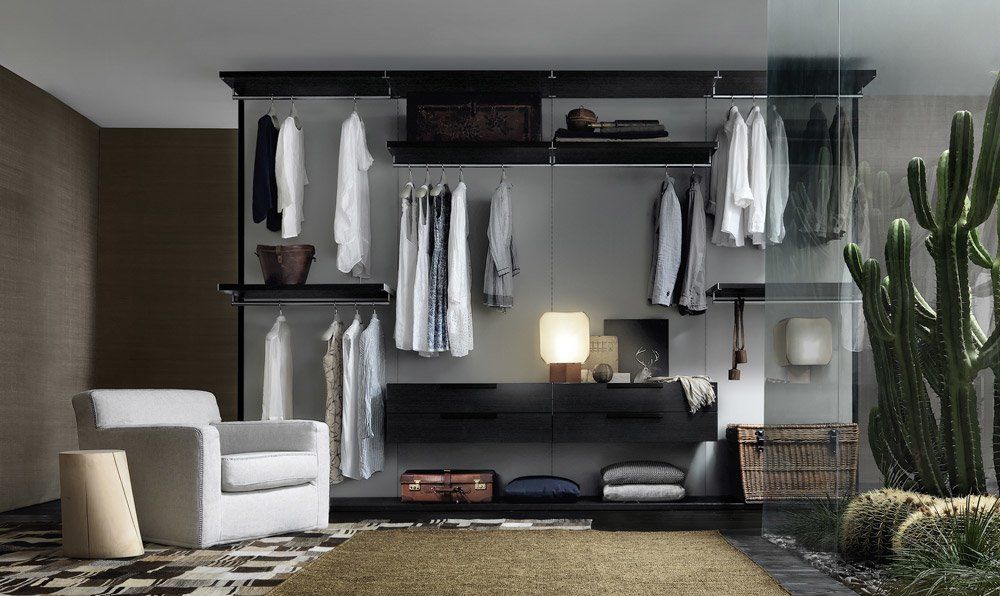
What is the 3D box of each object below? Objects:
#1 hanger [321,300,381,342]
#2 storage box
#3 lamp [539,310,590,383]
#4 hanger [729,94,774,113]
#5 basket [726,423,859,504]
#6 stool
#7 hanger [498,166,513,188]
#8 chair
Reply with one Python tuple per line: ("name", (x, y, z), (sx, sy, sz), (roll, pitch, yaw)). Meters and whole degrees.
("hanger", (-1.145, 0.168, 6.826), (0.436, 0.294, 0.296), (-1, -4, -4))
("storage box", (1.680, 0.961, 5.158), (0.718, 0.462, 0.556), (-3, -7, 19))
("lamp", (0.546, 0.388, 6.843), (0.388, 0.521, 0.286), (0, 3, 17))
("hanger", (1.915, -1.490, 6.722), (0.456, 0.106, 0.200), (0, -2, 0))
("basket", (1.876, 0.959, 5.256), (0.559, 0.460, 0.713), (5, -10, -32))
("stool", (-2.560, 1.249, 5.619), (0.612, 0.644, 0.618), (-16, -14, 29))
("hanger", (0.047, -0.953, 6.910), (0.134, 0.200, 0.173), (0, -3, 1))
("chair", (-1.987, 1.157, 5.965), (1.219, 0.972, 1.180), (-4, -7, 27))
